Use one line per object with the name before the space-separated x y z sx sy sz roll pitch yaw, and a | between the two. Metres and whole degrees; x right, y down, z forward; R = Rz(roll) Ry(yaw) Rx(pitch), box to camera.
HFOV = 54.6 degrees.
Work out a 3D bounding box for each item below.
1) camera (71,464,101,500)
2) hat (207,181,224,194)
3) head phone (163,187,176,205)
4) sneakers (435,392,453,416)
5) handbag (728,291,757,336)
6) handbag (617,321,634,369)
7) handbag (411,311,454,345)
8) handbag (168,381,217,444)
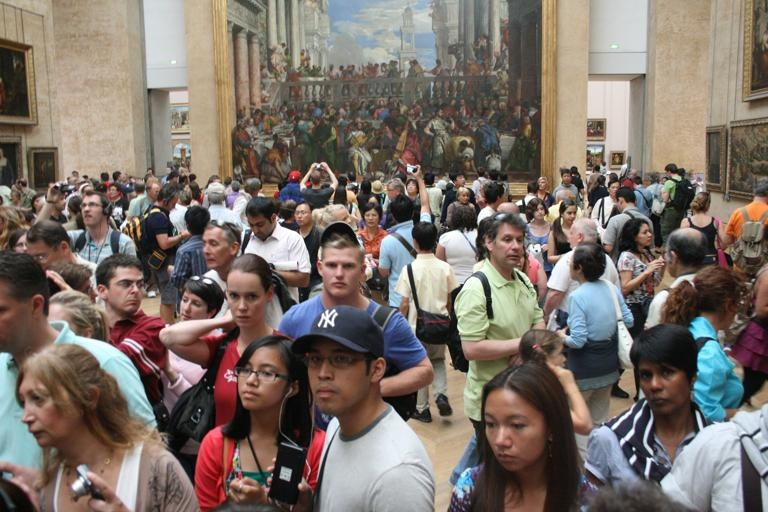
camera | -1.648 1.266 4.090 0.221 0.095 0.120 43 2 -37
hat | -2.188 -0.907 9.811 0.224 0.108 0.243 1 8 10
head phone | -2.711 -0.771 9.404 0.133 0.252 0.167 5 25 -17
sneakers | 0.599 1.499 7.494 0.104 0.254 0.111 -11 37 13
handbag | 2.778 0.453 5.791 0.132 0.292 0.218 39 -8 -5
handbag | 1.978 0.767 6.148 0.110 0.451 0.455 1 10 17
handbag | 0.486 0.631 7.101 0.404 0.512 0.249 2 0 8
handbag | -1.277 1.069 4.957 0.323 0.432 0.204 -2 9 -1
